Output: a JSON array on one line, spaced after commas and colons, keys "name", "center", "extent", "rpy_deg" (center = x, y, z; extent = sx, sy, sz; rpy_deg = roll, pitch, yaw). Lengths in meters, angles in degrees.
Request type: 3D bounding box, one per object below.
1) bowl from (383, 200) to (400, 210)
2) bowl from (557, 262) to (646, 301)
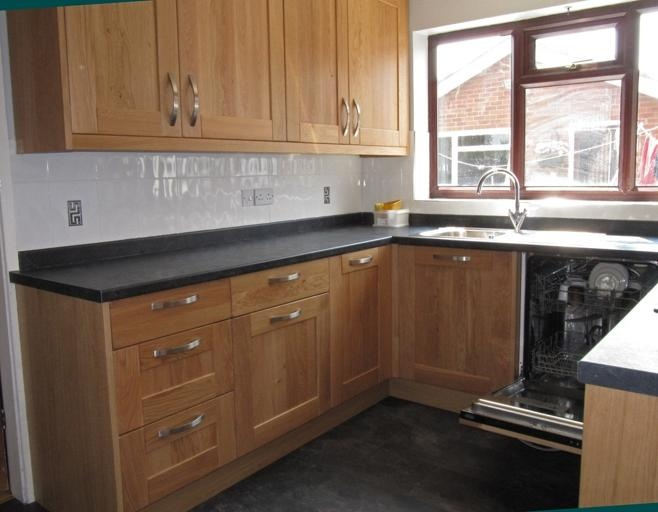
[{"name": "bowl", "center": [0.442, -0.358, 3.744], "extent": [0.097, 0.036, 0.072], "rpy_deg": [-7, 0, 15]}, {"name": "bowl", "center": [1.382, 0.113, 2.642], "extent": [0.249, 0.235, 0.074], "rpy_deg": [-4, 4, 41]}]
